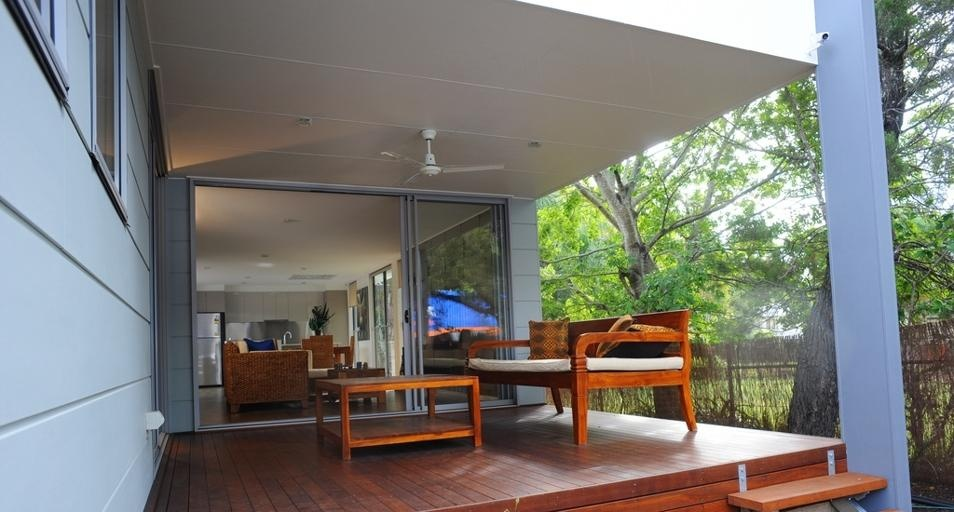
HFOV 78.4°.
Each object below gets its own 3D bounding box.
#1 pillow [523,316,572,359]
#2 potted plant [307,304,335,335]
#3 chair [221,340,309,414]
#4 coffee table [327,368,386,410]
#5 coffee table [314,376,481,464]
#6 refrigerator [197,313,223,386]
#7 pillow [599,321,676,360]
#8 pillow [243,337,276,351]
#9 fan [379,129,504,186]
[{"bbox_3d":[0.936,1.080,7.517,0.608,0.525,0.224,-7,-15,31],"label":"pillow"},{"bbox_3d":[-4.051,1.763,15.987,0.862,0.910,0.890,6,-4,-35],"label":"potted plant"},{"bbox_3d":[-3.082,1.908,9.298,1.322,1.035,2.041,2,-11,-20],"label":"chair"},{"bbox_3d":[-1.899,2.093,9.486,1.014,0.693,0.933,4,-8,-24],"label":"coffee table"},{"bbox_3d":[-0.826,1.632,5.908,1.431,0.636,0.924,3,-9,-30],"label":"coffee table"},{"bbox_3d":[-6.989,2.466,15.366,0.653,1.915,0.469,2,-10,-19],"label":"refrigerator"},{"bbox_3d":[1.678,0.890,6.224,0.752,0.463,0.488,0,-1,1],"label":"pillow"},{"bbox_3d":[-3.562,1.490,9.572,0.442,0.152,0.415,-4,-3,1],"label":"pillow"},{"bbox_3d":[-0.495,-1.084,7.081,1.329,0.579,0.951,2,-12,-22],"label":"fan"}]
